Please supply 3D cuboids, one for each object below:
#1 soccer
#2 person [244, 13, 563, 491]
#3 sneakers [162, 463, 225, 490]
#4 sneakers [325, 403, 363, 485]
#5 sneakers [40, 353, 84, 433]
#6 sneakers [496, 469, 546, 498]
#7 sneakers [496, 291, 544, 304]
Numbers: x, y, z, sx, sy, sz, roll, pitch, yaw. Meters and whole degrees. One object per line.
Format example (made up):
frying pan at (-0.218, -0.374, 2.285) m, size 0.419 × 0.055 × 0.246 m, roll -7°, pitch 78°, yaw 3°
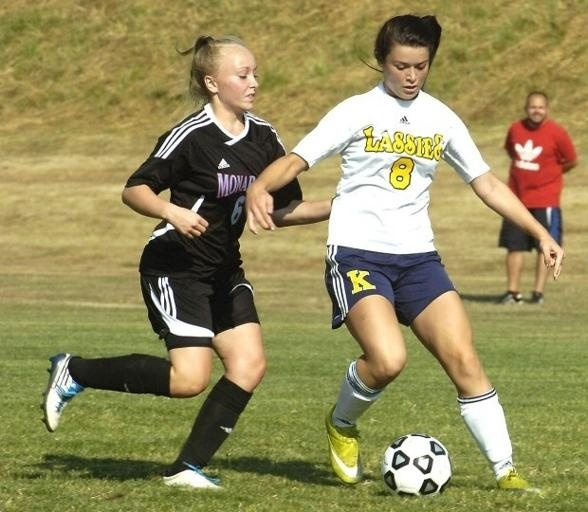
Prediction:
soccer at (0.687, 1.163, 6.331) m, size 0.383 × 0.297 × 0.347 m, roll -19°, pitch 36°, yaw -20°
person at (0.591, -0.023, 6.315) m, size 1.554 × 2.657 × 0.817 m, roll 3°, pitch 10°, yaw 9°
sneakers at (-0.571, 1.218, 6.189) m, size 0.279 × 0.086 × 0.145 m, roll 1°, pitch 1°, yaw 0°
sneakers at (0.303, 1.108, 6.471) m, size 0.145 × 0.367 × 0.159 m, roll -1°, pitch -31°, yaw -35°
sneakers at (-1.370, 0.778, 6.628) m, size 0.317 × 0.496 × 0.191 m, roll 3°, pitch -2°, yaw 15°
sneakers at (1.274, 1.250, 6.133) m, size 0.326 × 0.108 × 0.101 m, roll 3°, pitch 3°, yaw 11°
sneakers at (2.411, 0.460, 12.114) m, size 0.536 × 0.188 × 0.159 m, roll 2°, pitch 1°, yaw -6°
